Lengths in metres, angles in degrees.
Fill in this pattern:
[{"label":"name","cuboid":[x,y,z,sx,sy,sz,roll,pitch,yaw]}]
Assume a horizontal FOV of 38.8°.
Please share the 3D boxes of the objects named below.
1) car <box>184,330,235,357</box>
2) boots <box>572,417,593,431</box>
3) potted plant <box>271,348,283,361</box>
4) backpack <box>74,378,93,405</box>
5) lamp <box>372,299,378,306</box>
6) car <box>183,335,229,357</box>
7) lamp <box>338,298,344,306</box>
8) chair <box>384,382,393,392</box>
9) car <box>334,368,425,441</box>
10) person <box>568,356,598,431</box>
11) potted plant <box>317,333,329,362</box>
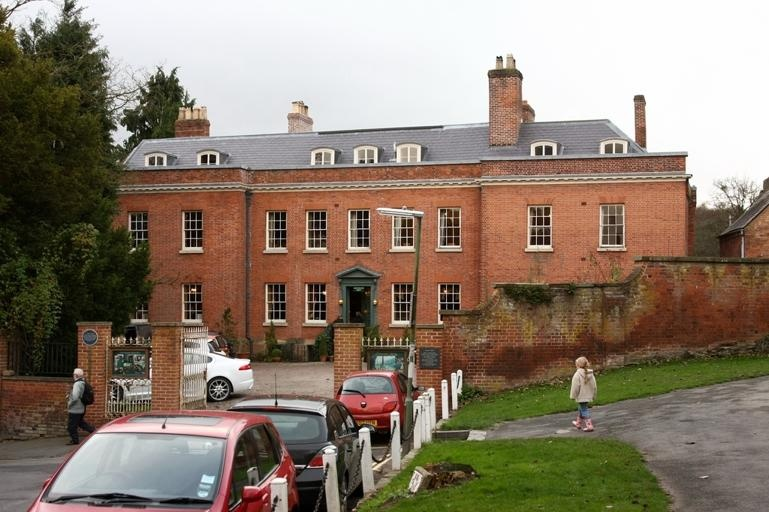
[{"label":"car","cuboid":[-6.731,3.757,43.814,2.430,1.146,1.356,3,0,-3]},{"label":"boots","cuboid":[5.572,4.726,30.388,0.236,0.282,0.677,1,-1,1]},{"label":"potted plant","cuboid":[-5.159,4.808,52.217,0.537,0.591,0.517,0,-7,-2]},{"label":"backpack","cuboid":[-8.985,4.159,32.892,0.321,0.769,0.437,-2,-8,-1]},{"label":"lamp","cuboid":[-0.437,2.308,52.895,0.397,0.202,0.282,-1,-10,3]},{"label":"car","cuboid":[-6.955,3.443,42.306,1.656,0.768,0.930,4,-1,-2]},{"label":"lamp","cuboid":[-2.099,2.263,53.349,0.272,0.369,0.266,-1,-1,8]},{"label":"chair","cuboid":[0.131,4.075,33.386,0.252,0.199,0.247,9,-13,-43]},{"label":"car","cuboid":[-0.260,4.495,33.395,1.743,1.122,2.622,-1,0,11]},{"label":"person","cuboid":[5.573,3.902,30.498,0.638,2.037,0.797,-5,-9,16]},{"label":"potted plant","cuboid":[-2.906,4.379,51.752,0.441,1.255,0.352,-1,-8,-6]}]
